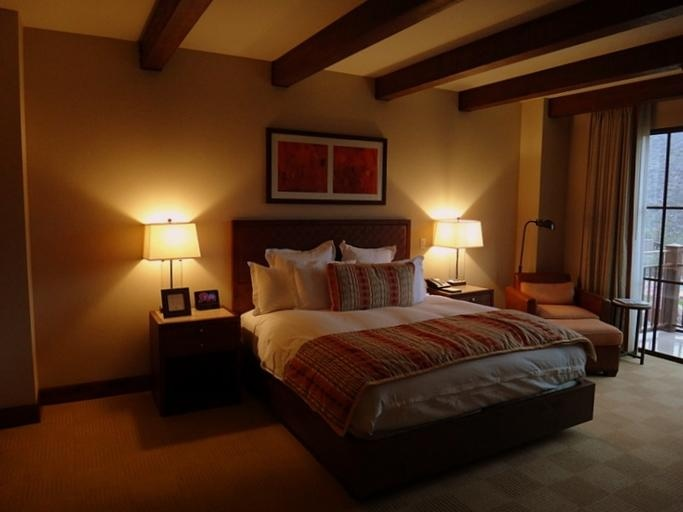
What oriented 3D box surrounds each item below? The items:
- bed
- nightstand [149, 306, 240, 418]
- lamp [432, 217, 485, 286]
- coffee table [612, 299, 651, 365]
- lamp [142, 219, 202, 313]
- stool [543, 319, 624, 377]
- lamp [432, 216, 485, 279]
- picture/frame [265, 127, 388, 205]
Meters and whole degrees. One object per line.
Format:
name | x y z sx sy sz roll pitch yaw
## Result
bed | 0.911 0.516 4.788 3.282 1.554 2.571 -7 15 -31
nightstand | -1.333 0.885 4.710 0.792 0.872 0.738 -1 12 -13
lamp | 1.413 -0.055 6.113 0.605 0.883 0.620 7 19 29
coffee table | 3.355 0.864 5.808 0.348 0.605 0.346 9 -10 -40
lamp | -1.544 0.089 4.624 0.431 0.786 0.246 -4 12 -25
stool | 2.616 0.924 5.405 0.647 0.506 0.689 1 3 -3
lamp | 1.388 -0.047 6.061 0.558 0.821 0.561 -5 14 -23
picture/frame | -0.131 -0.904 5.374 1.280 0.799 0.054 1 -7 -12
